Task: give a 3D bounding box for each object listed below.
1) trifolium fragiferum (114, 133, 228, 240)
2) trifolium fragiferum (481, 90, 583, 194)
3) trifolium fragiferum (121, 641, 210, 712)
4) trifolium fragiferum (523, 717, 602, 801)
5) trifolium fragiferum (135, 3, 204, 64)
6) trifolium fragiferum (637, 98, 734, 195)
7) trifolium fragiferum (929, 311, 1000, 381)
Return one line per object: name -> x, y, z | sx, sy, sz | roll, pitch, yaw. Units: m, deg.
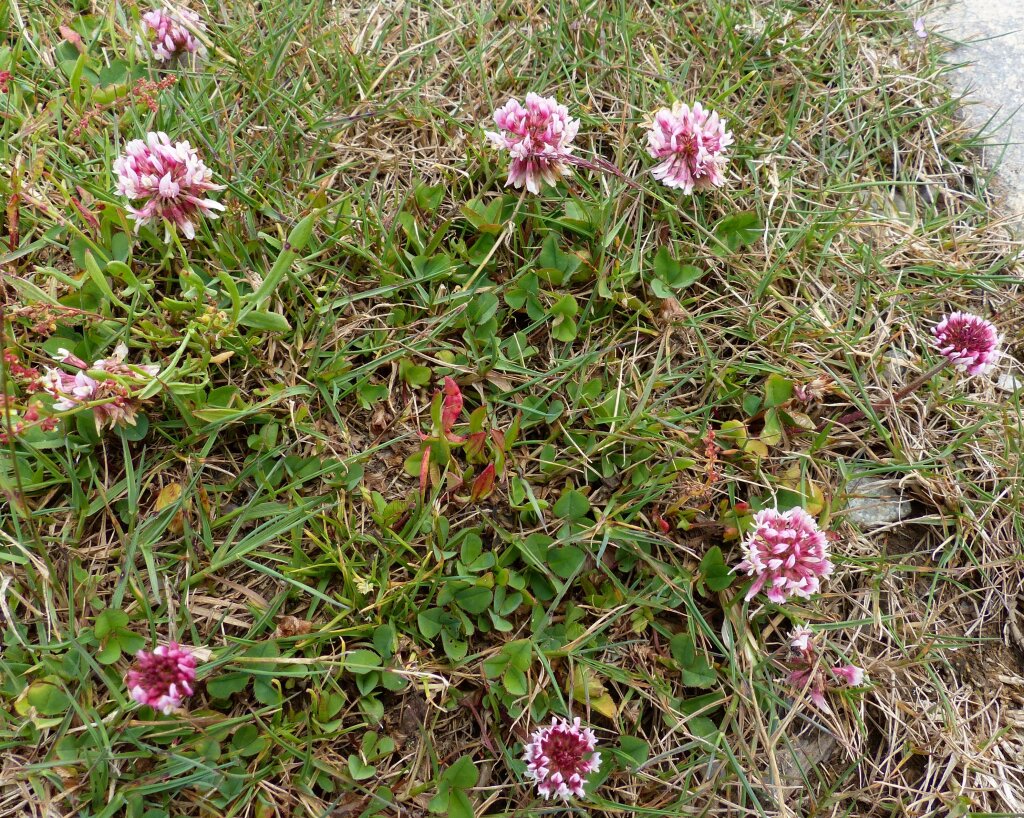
trifolium fragiferum -> -0.871, -0.546, 2.417 | 0.267, 0.159, 0.282 | 2, 71, -20
trifolium fragiferum -> 0.050, -0.706, 2.472 | 0.242, 0.113, 0.274 | 4, 95, -1
trifolium fragiferum -> -0.778, 0.612, 2.094 | 0.154, 0.093, 0.175 | 4, 59, 4
trifolium fragiferum -> 0.119, 0.818, 2.185 | 0.174, 0.096, 0.173 | 7, 65, -6
trifolium fragiferum -> -0.958, -1.073, 2.633 | 0.167, 0.101, 0.170 | 37, 55, 15
trifolium fragiferum -> 0.506, -0.717, 2.576 | 0.111, 0.246, 0.227 | 19, 52, 25
trifolium fragiferum -> 1.204, -0.183, 2.525 | 0.155, 0.087, 0.161 | 34, 42, 17
